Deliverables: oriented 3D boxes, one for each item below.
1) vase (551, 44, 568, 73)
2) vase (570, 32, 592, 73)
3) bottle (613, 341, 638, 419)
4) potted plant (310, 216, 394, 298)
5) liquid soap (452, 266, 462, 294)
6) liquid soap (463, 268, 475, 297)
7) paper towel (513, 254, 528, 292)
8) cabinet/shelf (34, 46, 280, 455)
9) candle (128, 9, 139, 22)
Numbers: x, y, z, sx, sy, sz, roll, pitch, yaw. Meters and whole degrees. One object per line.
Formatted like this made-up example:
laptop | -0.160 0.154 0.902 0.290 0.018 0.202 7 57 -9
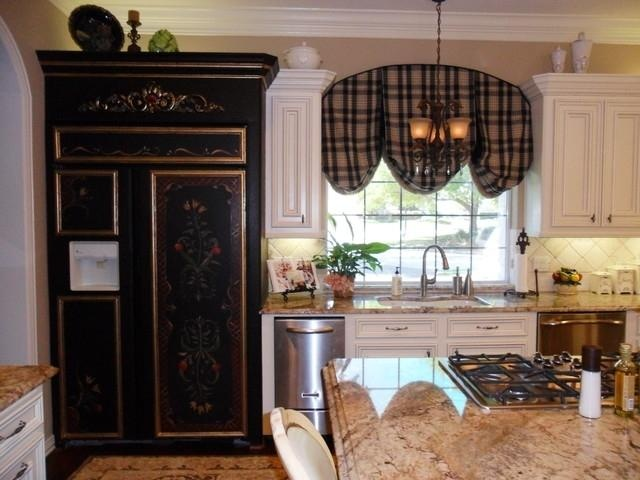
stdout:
vase | 2.029 -1.528 4.895 0.121 0.253 0.398 3 10 21
vase | 2.163 -1.557 4.779 0.185 0.296 0.175 -4 8 -34
bottle | 1.481 0.662 2.792 0.097 0.343 0.116 4 11 27
potted plant | 0.264 0.169 4.876 0.717 0.614 0.661 -4 -1 2
liquid soap | 1.188 0.346 4.925 0.072 0.219 0.164 3 10 19
liquid soap | 1.269 0.353 4.925 0.081 0.222 0.170 2 10 16
paper towel | 1.723 0.252 4.925 0.150 0.270 0.145 2 -7 10
cabinet/shelf | -1.198 0.084 4.269 1.645 2.901 0.423 -1 10 -2
candle | -1.401 -1.671 4.316 0.091 0.083 0.090 17 23 20
